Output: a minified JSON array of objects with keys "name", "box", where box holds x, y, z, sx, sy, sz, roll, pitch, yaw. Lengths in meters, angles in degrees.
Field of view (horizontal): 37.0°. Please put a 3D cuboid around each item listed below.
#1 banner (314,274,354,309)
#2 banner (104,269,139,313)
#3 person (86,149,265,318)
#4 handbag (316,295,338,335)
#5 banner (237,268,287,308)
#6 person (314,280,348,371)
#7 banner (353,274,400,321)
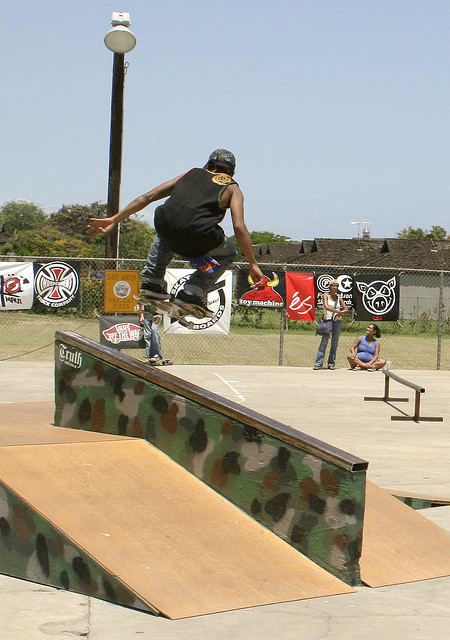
[{"name":"banner","box":[2.064,-0.562,13.009,0.743,0.553,0.009,3,-12,-32]},{"name":"banner","box":[-1.879,-0.509,12.030,0.858,0.901,0.099,-2,4,-11]},{"name":"person","box":[-0.308,-0.601,4.712,0.906,1.041,1.166,3,1,-22]},{"name":"handbag","box":[1.941,-0.076,12.799,0.333,0.708,0.422,4,1,9]},{"name":"banner","box":[0.650,-0.537,11.692,0.810,0.608,0.051,3,13,1]},{"name":"person","box":[2.073,0.095,13.103,0.550,1.682,1.228,4,1,10]},{"name":"banner","box":[3.012,-0.462,13.273,1.092,1.003,0.016,-1,-1,44]}]
